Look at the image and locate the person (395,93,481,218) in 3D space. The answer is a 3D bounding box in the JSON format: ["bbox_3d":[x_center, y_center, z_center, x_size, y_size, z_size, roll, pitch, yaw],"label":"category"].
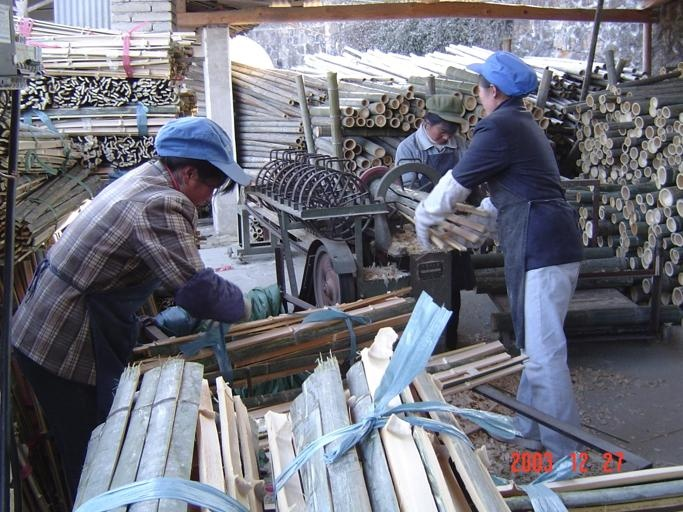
[{"bbox_3d":[0.841,-0.823,5.364,0.603,1.206,0.596,12,-8,-12],"label":"person"}]

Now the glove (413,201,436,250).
[{"bbox_3d":[0.569,-0.190,3.820,0.077,0.271,0.197,3,27,13],"label":"glove"}]

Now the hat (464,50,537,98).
[{"bbox_3d":[1.019,-1.147,3.592,0.402,0.161,0.271,41,52,22],"label":"hat"}]

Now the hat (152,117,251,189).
[{"bbox_3d":[-0.733,-0.510,2.808,0.490,0.255,0.303,6,-6,-19],"label":"hat"}]

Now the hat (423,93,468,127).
[{"bbox_3d":[0.937,-1.326,5.021,0.228,0.141,0.340,-18,45,-37],"label":"hat"}]

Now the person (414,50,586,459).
[{"bbox_3d":[1.102,-0.124,3.595,1.009,2.319,0.453,6,13,25],"label":"person"}]
